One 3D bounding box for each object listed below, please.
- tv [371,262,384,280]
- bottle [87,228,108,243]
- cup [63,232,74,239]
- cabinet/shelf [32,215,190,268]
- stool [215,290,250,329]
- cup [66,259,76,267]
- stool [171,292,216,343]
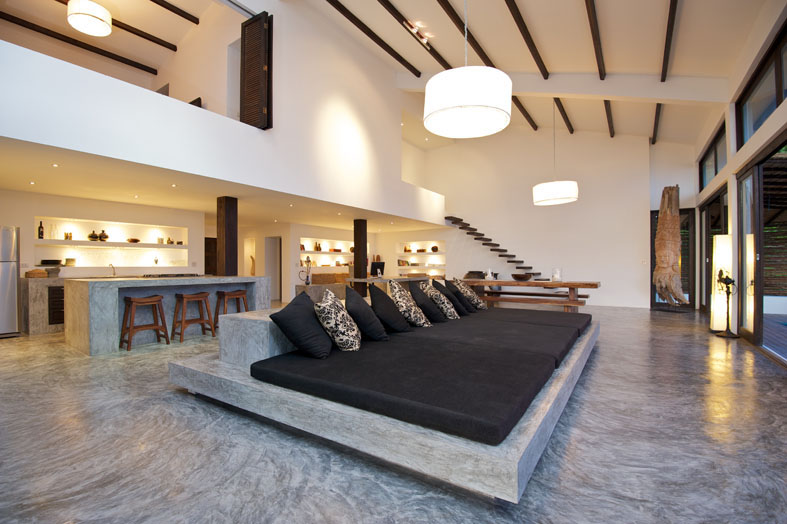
[{"bbox_3d":[-0.420,0.242,11.861,0.431,0.394,0.227,0,0,-26],"label":"tv"},{"bbox_3d":[-6.587,-0.570,10.548,0.357,0.251,0.440,-11,16,-30],"label":"bottle"},{"bbox_3d":[-6.975,-0.566,10.142,0.159,0.144,0.147,1,2,0],"label":"cup"},{"bbox_3d":[-6.350,-0.402,10.847,2.956,1.585,0.445,-16,19,-42],"label":"cabinet/shelf"},{"bbox_3d":[-3.041,0.942,9.097,0.717,0.880,0.747,-4,-12,-10],"label":"stool"},{"bbox_3d":[-6.985,0.028,10.231,0.155,0.146,0.155,0,-2,0],"label":"cup"},{"bbox_3d":[-3.550,0.953,8.393,0.518,0.785,0.647,1,3,41],"label":"stool"}]
